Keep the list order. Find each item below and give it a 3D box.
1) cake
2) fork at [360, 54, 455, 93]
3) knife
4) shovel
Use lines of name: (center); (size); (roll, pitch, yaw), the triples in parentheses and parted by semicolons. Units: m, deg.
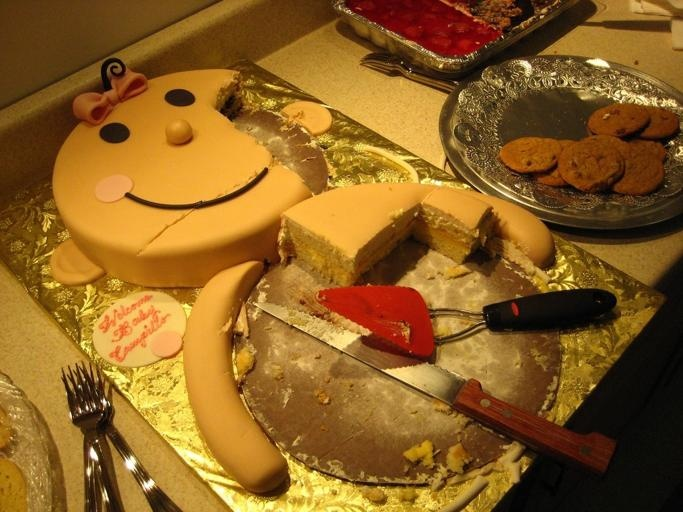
cake: (-0.133, 0.082, 1.725); (1.050, 0.396, 0.829); (24, 52, 23)
fork: (0.244, -0.638, 2.233); (0.322, 0.047, 0.045); (26, 110, 4)
knife: (0.217, 0.309, 1.597); (0.909, 0.072, 0.085); (23, 70, 11)
shovel: (0.299, 0.224, 1.749); (0.874, 0.109, 0.279); (-4, 53, 1)
